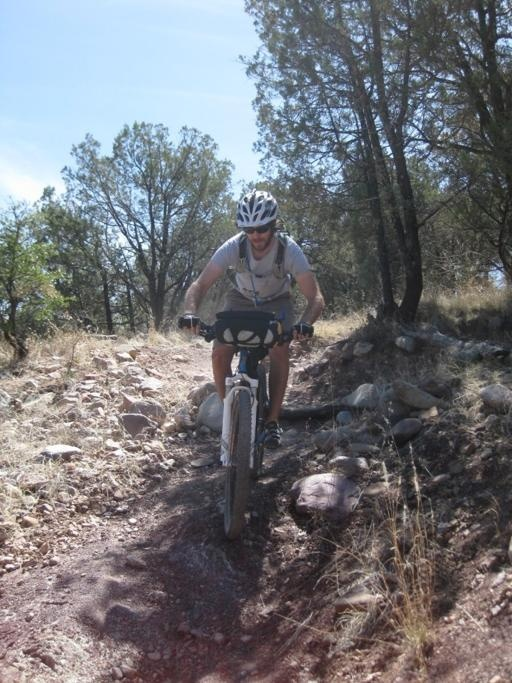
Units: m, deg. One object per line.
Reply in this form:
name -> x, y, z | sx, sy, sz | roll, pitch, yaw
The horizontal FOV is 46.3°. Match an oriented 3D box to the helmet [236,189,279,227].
helmet -> 0.013, -0.920, 4.344 | 0.229, 0.326, 0.278 | 5, 8, -1

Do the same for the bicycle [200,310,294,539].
bicycle -> -0.059, 0.528, 4.116 | 0.609, 1.474, 0.978 | -2, 3, -9
